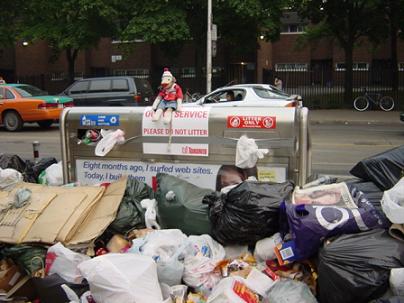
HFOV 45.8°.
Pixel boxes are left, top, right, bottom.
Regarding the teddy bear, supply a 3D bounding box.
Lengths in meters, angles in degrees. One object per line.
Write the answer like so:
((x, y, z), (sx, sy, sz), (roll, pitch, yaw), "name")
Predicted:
((-0.533, -0.848, 7.361), (0.461, 0.804, 0.784), (-2, 7, -4), "teddy bear")

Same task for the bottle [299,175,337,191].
((1.658, 0.411, 6.690), (0.420, 0.101, 1.002), (1, 8, 20), "bottle")

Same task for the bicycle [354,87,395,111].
((8.188, -2.527, 22.653), (1.941, 1.476, 0.865), (0, 5, 12), "bicycle")

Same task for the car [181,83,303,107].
((1.422, -1.625, 14.050), (2.785, 1.084, 1.684), (3, 7, 11), "car")

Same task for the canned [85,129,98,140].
((-1.684, -0.264, 7.381), (0.216, 0.164, 0.054), (1, 7, 21), "canned")
